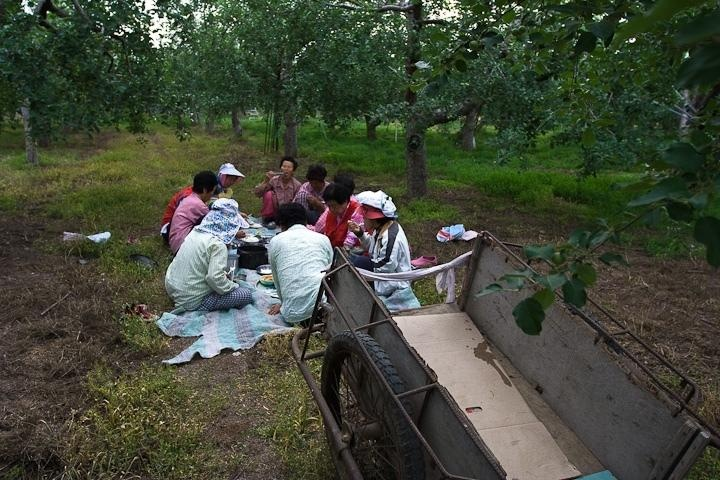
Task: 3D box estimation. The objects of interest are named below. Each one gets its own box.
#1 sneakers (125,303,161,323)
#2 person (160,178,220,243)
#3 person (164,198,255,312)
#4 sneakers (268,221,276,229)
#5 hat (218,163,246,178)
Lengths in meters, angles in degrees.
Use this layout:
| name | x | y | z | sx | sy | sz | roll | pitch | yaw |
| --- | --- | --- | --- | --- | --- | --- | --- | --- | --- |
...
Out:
| name | x | y | z | sx | sy | sz | roll | pitch | yaw |
| --- | --- | --- | --- | --- | --- | --- | --- | --- | --- |
| sneakers | -2.839 | 0.939 | 6.821 | 0.317 | 0.103 | 0.239 | 10 | -2 | 8 |
| person | -2.649 | -0.437 | 8.217 | 0.774 | 1.226 | 1.083 | 4 | 25 | -29 |
| person | -2.099 | 0.250 | 7.326 | 0.932 | 1.195 | 1.061 | -21 | 43 | -41 |
| sneakers | -1.571 | -0.266 | 9.416 | 0.117 | 0.085 | 0.113 | 2 | 19 | -7 |
| hat | -2.280 | -1.213 | 9.254 | 0.359 | 0.234 | 0.354 | -10 | 20 | -30 |
